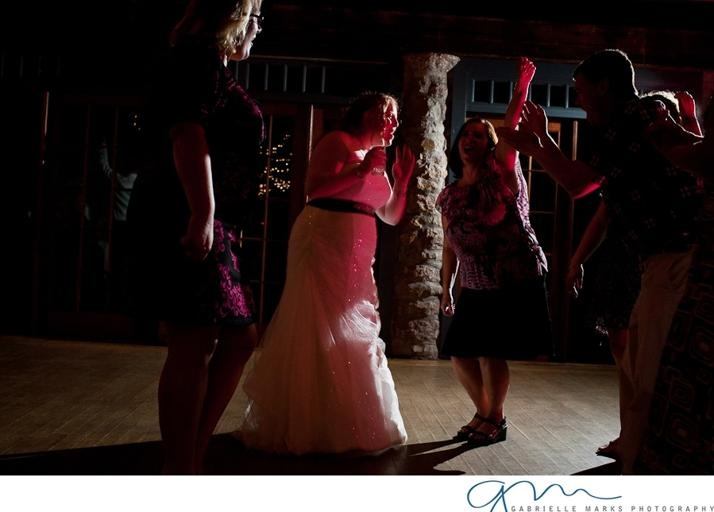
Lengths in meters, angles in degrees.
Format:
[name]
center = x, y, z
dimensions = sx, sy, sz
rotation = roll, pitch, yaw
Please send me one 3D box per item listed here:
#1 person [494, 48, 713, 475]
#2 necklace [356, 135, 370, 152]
[person]
center = 1.288, 0.143, 2.543
dimensions = 0.958, 2.189, 0.732
rotation = -3, 7, -35
[necklace]
center = 0.030, -0.658, 3.130
dimensions = 0.080, 0.083, 0.084
rotation = 1, -2, -8
